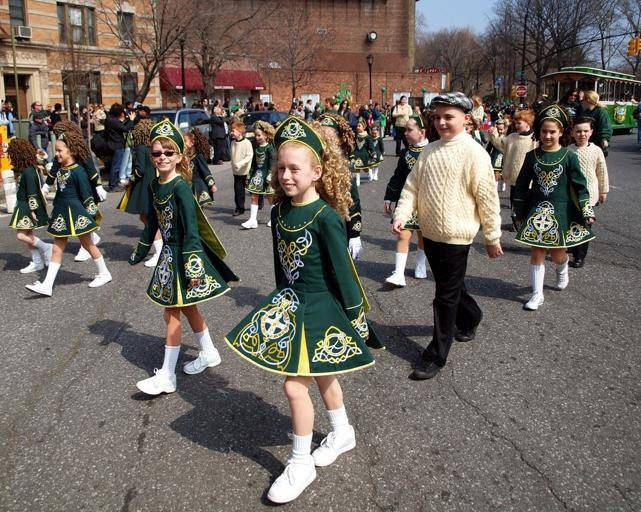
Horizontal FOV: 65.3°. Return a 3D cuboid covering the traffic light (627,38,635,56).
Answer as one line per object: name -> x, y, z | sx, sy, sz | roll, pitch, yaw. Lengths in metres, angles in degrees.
traffic light -> 18.755, -12.683, 30.055 | 0.437, 0.837, 1.162 | 9, 21, 28

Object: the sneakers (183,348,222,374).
sneakers -> -0.967, 0.867, 4.205 | 0.337, 0.153, 0.144 | -20, 28, -21

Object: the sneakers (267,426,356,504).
sneakers -> -0.058, 1.181, 2.930 | 0.208, 0.258, 0.684 | 1, 10, 41

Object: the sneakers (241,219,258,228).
sneakers -> -1.393, -0.639, 9.811 | 0.314, 0.134, 0.142 | -2, 9, -28

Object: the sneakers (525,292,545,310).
sneakers -> 2.317, 0.485, 5.408 | 0.117, 0.135, 0.332 | -3, 1, 42

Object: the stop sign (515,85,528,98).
stop sign -> 15.232, -12.601, 37.932 | 1.237, 0.397, 1.643 | -1, 38, 18

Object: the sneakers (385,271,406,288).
sneakers -> 0.944, 0.283, 6.184 | 0.327, 0.148, 0.127 | 6, -6, -39

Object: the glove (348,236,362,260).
glove -> 0.357, -0.078, 4.990 | 0.178, 0.186, 0.223 | -3, 7, 8

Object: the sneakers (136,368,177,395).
sneakers -> -1.223, 0.941, 3.817 | 0.298, 0.141, 0.164 | 5, 5, -44

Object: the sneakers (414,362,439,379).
sneakers -> 0.870, 0.926, 4.057 | 0.227, 0.087, 0.101 | -7, 27, -45

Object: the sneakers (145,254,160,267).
sneakers -> -2.298, 0.054, 6.839 | 0.171, 0.173, 0.419 | 3, 4, 6
